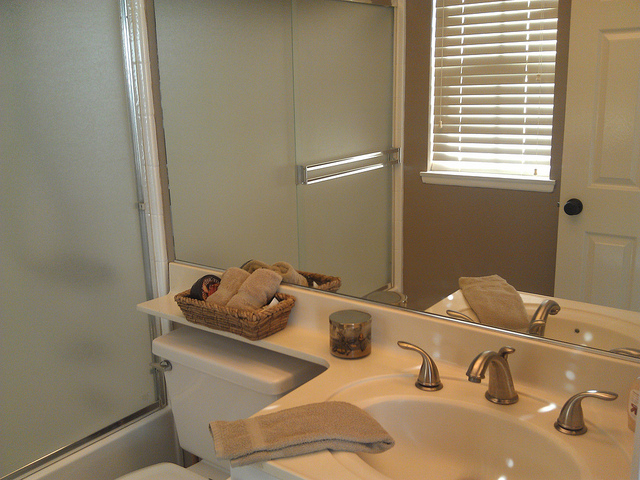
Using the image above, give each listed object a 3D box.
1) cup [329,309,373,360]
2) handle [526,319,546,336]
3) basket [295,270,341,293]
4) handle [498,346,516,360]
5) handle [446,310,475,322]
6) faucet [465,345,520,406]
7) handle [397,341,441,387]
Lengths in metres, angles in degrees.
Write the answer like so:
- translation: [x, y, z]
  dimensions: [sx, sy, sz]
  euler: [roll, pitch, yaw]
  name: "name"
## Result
- translation: [0.088, 0.287, 1.606]
  dimensions: [0.133, 0.106, 0.136]
  euler: [-2, 4, 0]
  name: "cup"
- translation: [0.575, 0.230, 1.419]
  dimensions: [0.028, 0.049, 0.049]
  euler: [8, -5, 29]
  name: "handle"
- translation: [0.011, 0.128, 1.743]
  dimensions: [0.083, 0.033, 0.061]
  euler: [13, 14, 41]
  name: "basket"
- translation: [0.484, 0.291, 1.381]
  dimensions: [0.025, 0.053, 0.024]
  euler: [18, 43, 33]
  name: "handle"
- translation: [0.400, 0.213, 1.508]
  dimensions: [0.061, 0.017, 0.009]
  euler: [27, -4, 31]
  name: "handle"
- translation: [0.435, 0.348, 1.354]
  dimensions: [0.185, 0.148, 0.083]
  euler: [-5, 8, -38]
  name: "faucet"
- translation: [0.264, 0.322, 1.450]
  dimensions: [0.117, 0.130, 0.087]
  euler: [1, 11, 8]
  name: "handle"
